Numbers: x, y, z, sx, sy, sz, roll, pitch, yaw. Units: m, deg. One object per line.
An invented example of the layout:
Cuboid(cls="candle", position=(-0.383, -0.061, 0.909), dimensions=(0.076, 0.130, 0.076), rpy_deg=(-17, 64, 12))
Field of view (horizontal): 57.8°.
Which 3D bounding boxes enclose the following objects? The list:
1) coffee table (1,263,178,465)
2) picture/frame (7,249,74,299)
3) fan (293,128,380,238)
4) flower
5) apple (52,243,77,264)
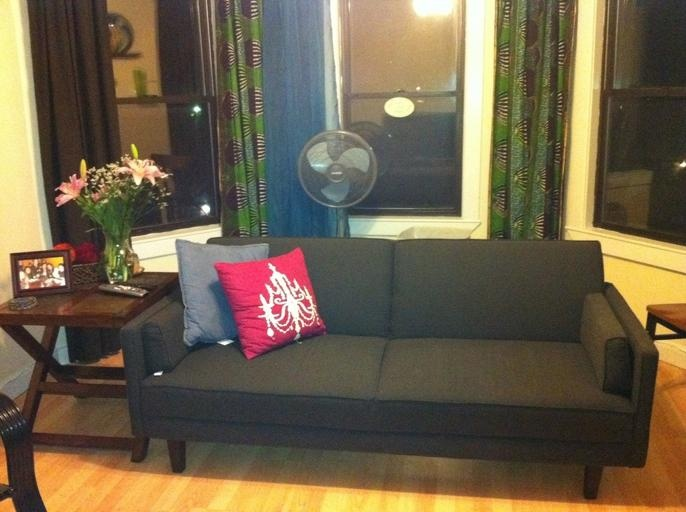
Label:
Cuboid(cls="coffee table", position=(-1.386, 0.550, 3.489), dimensions=(0.975, 0.776, 0.904), rpy_deg=(2, 9, 4))
Cuboid(cls="picture/frame", position=(-1.583, 0.097, 3.284), dimensions=(0.265, 0.215, 0.019), rpy_deg=(-8, -8, -18))
Cuboid(cls="fan", position=(-0.043, -0.404, 4.013), dimensions=(0.468, 0.829, 0.302), rpy_deg=(-4, 26, -5))
Cuboid(cls="flower", position=(-1.306, -0.199, 3.474), dimensions=(0.581, 0.736, 0.601), rpy_deg=(-1, -9, -21))
Cuboid(cls="apple", position=(-1.505, -0.011, 3.395), dimensions=(0.126, 0.118, 0.120), rpy_deg=(0, 0, -2))
